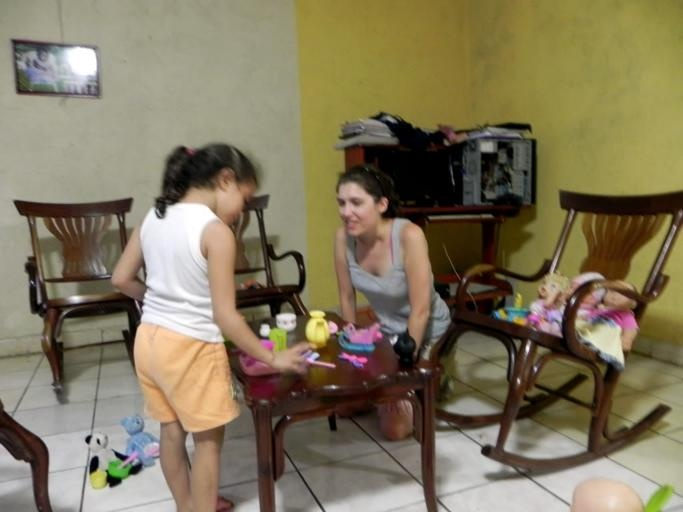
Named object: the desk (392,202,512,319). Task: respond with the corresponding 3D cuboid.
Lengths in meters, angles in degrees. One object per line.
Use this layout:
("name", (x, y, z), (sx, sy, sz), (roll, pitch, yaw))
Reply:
("desk", (1.037, 0.010, 4.952), (0.617, 0.856, 0.910), (0, -1, 16))

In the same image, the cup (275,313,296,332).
("cup", (-0.297, 0.360, 3.098), (0.090, 0.074, 0.095), (0, -5, 0))

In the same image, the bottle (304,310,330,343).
("bottle", (-0.124, 0.375, 2.872), (0.122, 0.179, 0.168), (-3, 1, -19))

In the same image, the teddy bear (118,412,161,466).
("teddy bear", (-1.085, 1.016, 3.136), (0.203, 0.108, 0.318), (-4, 30, -47))

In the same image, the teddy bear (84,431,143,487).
("teddy bear", (-1.205, 1.058, 3.036), (0.257, 0.276, 0.224), (-20, 0, -33))

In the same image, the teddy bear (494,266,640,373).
("teddy bear", (1.204, 0.326, 3.098), (0.626, 0.209, 0.496), (15, 39, 33))

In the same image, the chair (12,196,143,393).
("chair", (-1.825, 0.211, 4.128), (0.904, 1.310, 0.890), (-5, 4, -9))

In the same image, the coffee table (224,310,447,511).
("coffee table", (-0.010, 0.629, 2.540), (0.772, 0.619, 0.752), (-3, -2, -17))

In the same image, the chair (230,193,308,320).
("chair", (-0.448, 0.068, 4.760), (0.684, 0.960, 0.728), (6, 1, -23))
